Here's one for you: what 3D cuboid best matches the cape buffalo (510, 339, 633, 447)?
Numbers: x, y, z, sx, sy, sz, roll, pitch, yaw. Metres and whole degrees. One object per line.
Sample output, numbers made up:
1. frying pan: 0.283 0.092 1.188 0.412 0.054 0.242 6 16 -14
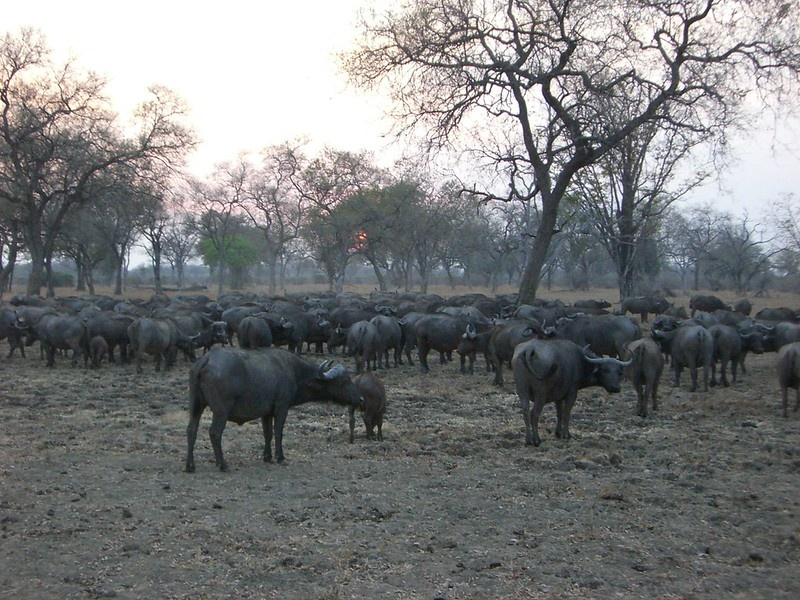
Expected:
1. cape buffalo: 3.929 2.059 21.374 1.517 2.442 3.574 -3 -7 42
